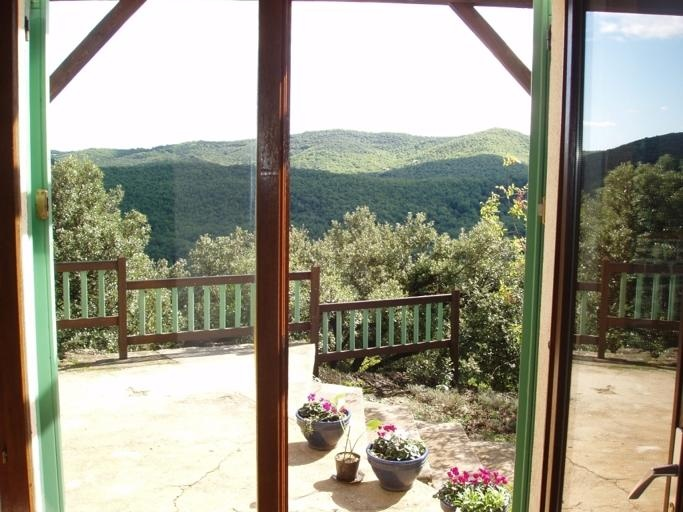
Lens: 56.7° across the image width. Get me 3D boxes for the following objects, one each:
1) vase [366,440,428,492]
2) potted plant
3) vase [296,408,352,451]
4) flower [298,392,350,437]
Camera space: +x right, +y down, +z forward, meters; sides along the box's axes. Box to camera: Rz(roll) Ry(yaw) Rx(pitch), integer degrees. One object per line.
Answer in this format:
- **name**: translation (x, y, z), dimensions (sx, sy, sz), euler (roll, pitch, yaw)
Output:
- **vase**: translation (0.340, 1.301, 3.842), dimensions (0.360, 0.208, 0.239), euler (-2, -2, 3)
- **potted plant**: translation (0.043, 1.148, 3.842), dimensions (0.370, 0.448, 0.154), euler (11, 8, 41)
- **vase**: translation (-0.120, 1.158, 4.281), dimensions (0.348, 0.259, 0.377), euler (1, -6, 0)
- **flower**: translation (-0.139, 1.042, 4.283), dimensions (0.302, 0.252, 0.327), euler (2, -2, 9)
